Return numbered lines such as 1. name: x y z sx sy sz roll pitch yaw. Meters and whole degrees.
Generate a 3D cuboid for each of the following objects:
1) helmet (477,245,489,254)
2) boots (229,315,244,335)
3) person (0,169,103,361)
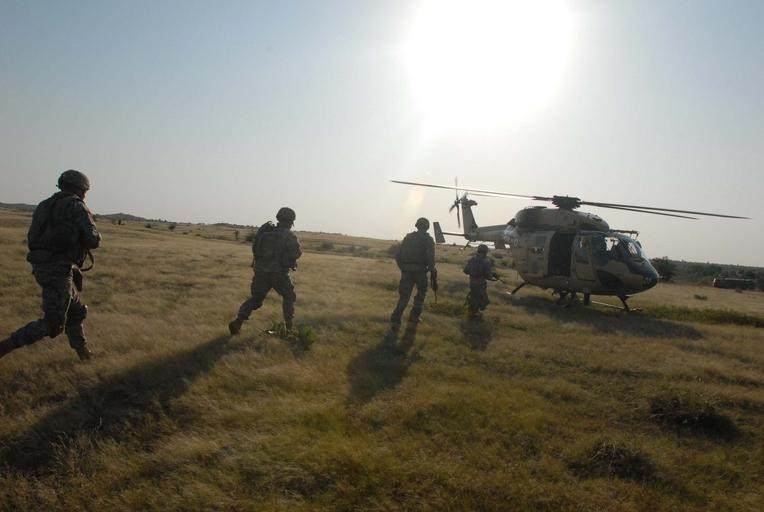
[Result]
1. helmet: 3.269 -0.197 15.694 0.258 0.355 0.354 -6 33 -4
2. boots: -3.454 1.700 11.598 0.316 0.461 0.442 18 -5 -14
3. person: -6.173 0.238 9.234 1.379 3.681 0.717 -2 9 -35
